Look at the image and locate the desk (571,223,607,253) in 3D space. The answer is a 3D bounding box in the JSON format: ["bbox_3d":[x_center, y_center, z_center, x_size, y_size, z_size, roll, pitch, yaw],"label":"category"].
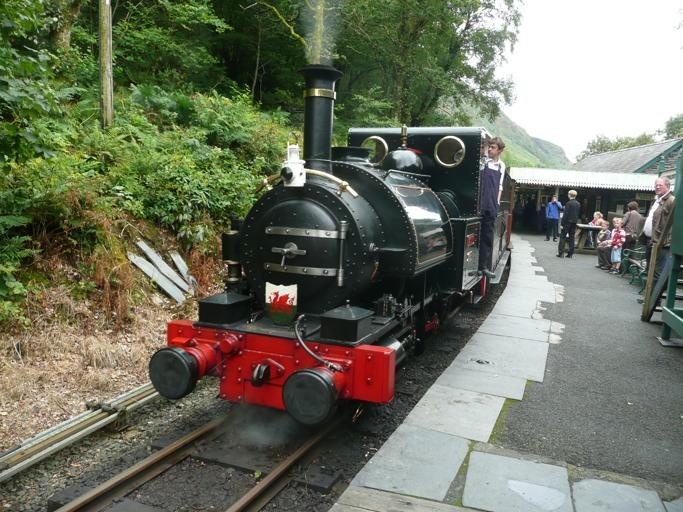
[{"bbox_3d":[9.549,-0.748,20.314,0.750,1.004,2.671,8,13,24],"label":"desk"}]

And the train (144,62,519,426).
[{"bbox_3d":[0.522,-0.182,7.555,2.484,2.562,6.418,3,6,21],"label":"train"}]

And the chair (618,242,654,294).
[{"bbox_3d":[7.044,0.307,12.474,0.490,0.695,1.264,2,4,17],"label":"chair"}]

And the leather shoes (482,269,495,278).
[{"bbox_3d":[2.399,0.286,8.503,0.157,0.072,0.218,2,0,43],"label":"leather shoes"}]
